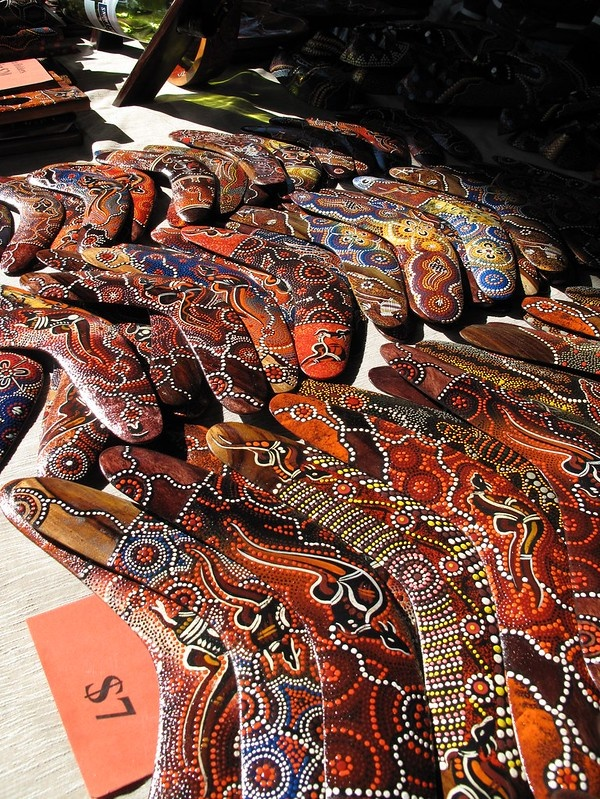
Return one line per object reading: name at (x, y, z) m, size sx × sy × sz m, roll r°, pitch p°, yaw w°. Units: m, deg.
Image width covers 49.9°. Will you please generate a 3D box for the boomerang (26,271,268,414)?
boomerang at (-0.137, -0.085, 0.659) m, size 0.311 × 0.022 × 0.113 m, roll 32°, pitch 52°, yaw 19°
